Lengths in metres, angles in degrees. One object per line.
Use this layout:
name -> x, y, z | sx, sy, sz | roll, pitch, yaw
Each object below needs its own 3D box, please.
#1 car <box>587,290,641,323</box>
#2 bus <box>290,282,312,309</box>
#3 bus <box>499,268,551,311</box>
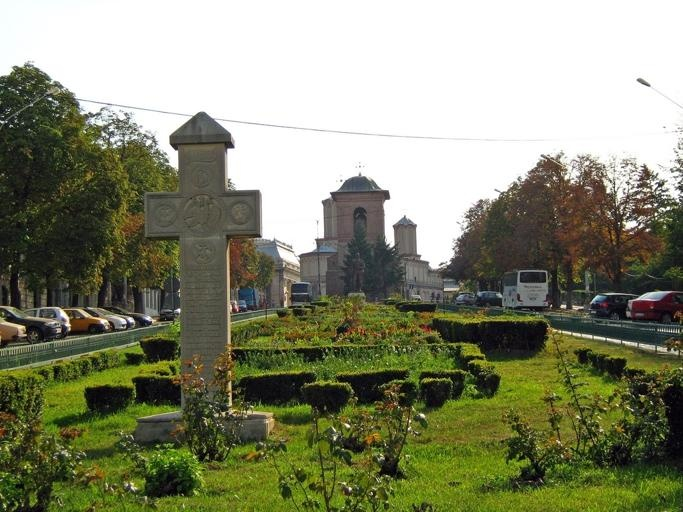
car -> 13.086, 2.283, 48.269 | 1.890, 0.874, 1.116 | -3, 2, -19
bus -> -3.570, 3.227, 87.878 | 1.652, 1.814, 2.913 | 0, 2, 3
bus -> 10.976, 1.859, 61.021 | 1.361, 1.804, 3.913 | 1, 1, 0
